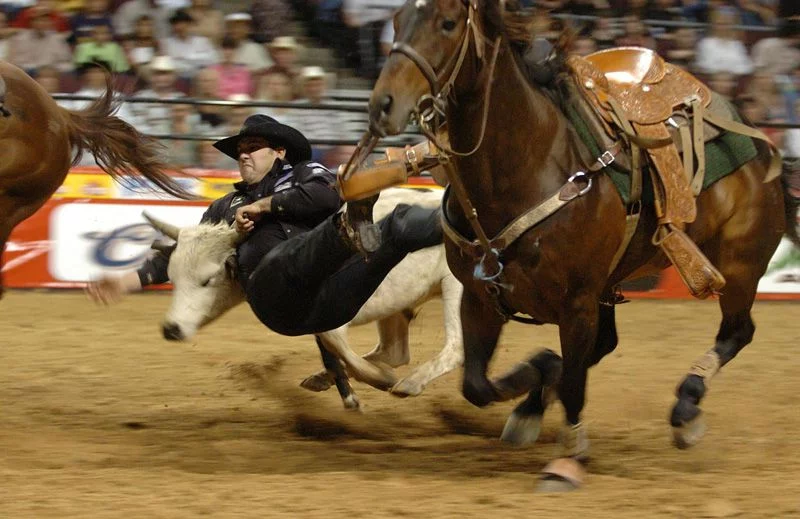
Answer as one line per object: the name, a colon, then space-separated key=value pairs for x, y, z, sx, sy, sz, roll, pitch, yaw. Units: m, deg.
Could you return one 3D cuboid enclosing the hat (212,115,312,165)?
hat: x=-0.935 y=-0.895 z=8.482 sx=0.683 sy=0.169 sz=0.470 roll=14 pitch=-25 yaw=-25
